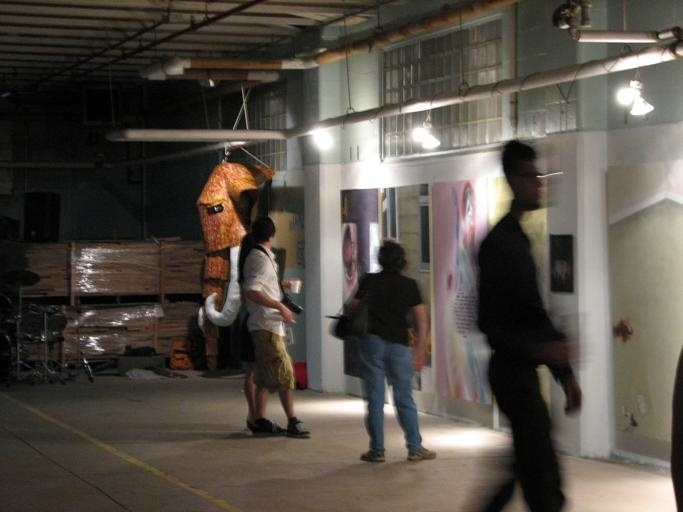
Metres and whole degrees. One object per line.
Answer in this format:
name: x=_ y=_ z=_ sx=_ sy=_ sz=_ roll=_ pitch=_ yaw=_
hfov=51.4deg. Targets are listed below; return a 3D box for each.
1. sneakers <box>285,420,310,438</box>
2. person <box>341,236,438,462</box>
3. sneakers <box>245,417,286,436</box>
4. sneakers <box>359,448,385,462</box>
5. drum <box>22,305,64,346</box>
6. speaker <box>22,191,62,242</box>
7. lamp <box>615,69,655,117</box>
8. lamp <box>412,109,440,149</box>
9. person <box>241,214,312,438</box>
sneakers: x=-0.519 y=1.984 z=8.108 sx=0.381 sy=0.210 sz=0.134 roll=0 pitch=-1 yaw=10
person: x=0.432 y=0.950 z=6.881 sx=0.780 sy=2.203 sz=0.565 roll=0 pitch=-1 yaw=5
sneakers: x=-0.894 y=2.001 z=8.270 sx=0.493 sy=0.200 sz=0.176 roll=0 pitch=0 yaw=1
sneakers: x=0.310 y=2.004 z=7.109 sx=0.245 sy=0.111 sz=0.104 roll=3 pitch=-1 yaw=13
drum: x=-5.045 y=1.134 z=11.999 sx=0.705 sy=0.633 sz=0.571 roll=0 pitch=-1 yaw=-22
speaker: x=-7.758 y=-1.032 z=18.420 sx=0.842 sy=1.289 sz=0.475 roll=0 pitch=-1 yaw=-29
lamp: x=2.665 y=-1.546 z=6.467 sx=0.297 sy=0.289 sz=0.278 roll=4 pitch=12 yaw=-2
lamp: x=1.036 y=-1.576 z=8.661 sx=0.271 sy=0.410 sz=0.376 roll=-1 pitch=19 yaw=10
person: x=-0.783 y=0.825 z=8.002 sx=0.714 sy=2.509 sz=1.125 roll=0 pitch=-1 yaw=-8
